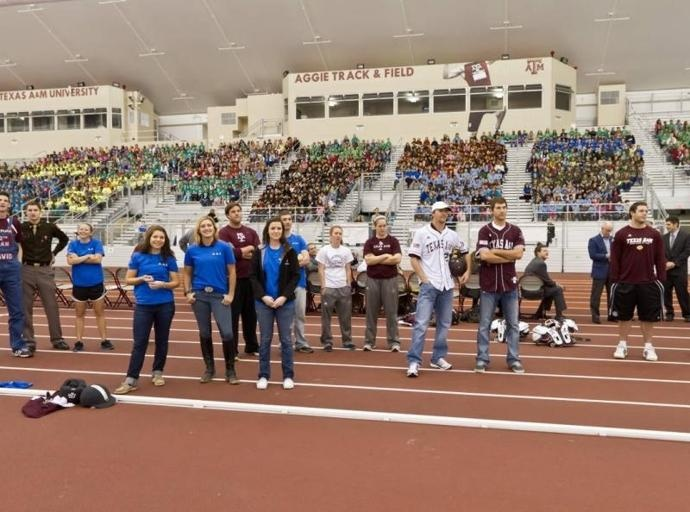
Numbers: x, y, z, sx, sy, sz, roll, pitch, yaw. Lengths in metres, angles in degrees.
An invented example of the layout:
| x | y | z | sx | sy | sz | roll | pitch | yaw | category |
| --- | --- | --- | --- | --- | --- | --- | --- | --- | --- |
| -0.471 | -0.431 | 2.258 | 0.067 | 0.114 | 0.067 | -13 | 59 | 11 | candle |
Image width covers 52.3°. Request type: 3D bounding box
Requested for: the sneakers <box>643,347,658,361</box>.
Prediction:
| x | y | z | sx | sy | sz | roll | pitch | yaw | category |
| --- | --- | --- | --- | --- | --- | --- | --- | --- | --- |
| 4.815 | 1.513 | 10.989 | 0.211 | 0.197 | 0.433 | 5 | 13 | 23 | sneakers |

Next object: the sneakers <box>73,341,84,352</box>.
| x | y | z | sx | sy | sz | roll | pitch | yaw | category |
| --- | --- | --- | --- | --- | --- | --- | --- | --- | --- |
| -4.516 | 1.517 | 11.790 | 0.158 | 0.167 | 0.387 | -5 | 13 | -21 | sneakers |

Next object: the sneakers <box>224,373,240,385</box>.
| x | y | z | sx | sy | sz | roll | pitch | yaw | category |
| --- | --- | --- | --- | --- | --- | --- | --- | --- | --- |
| -1.606 | 1.704 | 9.867 | 0.190 | 0.162 | 0.328 | -3 | 12 | -12 | sneakers |

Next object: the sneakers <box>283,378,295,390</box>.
| x | y | z | sx | sy | sz | roll | pitch | yaw | category |
| --- | --- | --- | --- | --- | --- | --- | --- | --- | --- |
| -0.795 | 1.745 | 9.700 | 0.168 | 0.151 | 0.326 | -1 | 12 | -3 | sneakers |

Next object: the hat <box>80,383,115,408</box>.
| x | y | z | sx | sy | sz | roll | pitch | yaw | category |
| --- | --- | --- | --- | --- | --- | --- | --- | --- | --- |
| -3.229 | 1.813 | 9.025 | 0.338 | 0.195 | 0.273 | 3 | 8 | 22 | hat |

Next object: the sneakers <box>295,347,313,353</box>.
| x | y | z | sx | sy | sz | roll | pitch | yaw | category |
| --- | --- | --- | --- | --- | --- | --- | --- | --- | --- |
| -0.683 | 1.558 | 11.568 | 0.265 | 0.126 | 0.104 | -2 | -5 | 12 | sneakers |

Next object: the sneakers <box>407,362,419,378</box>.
| x | y | z | sx | sy | sz | roll | pitch | yaw | category |
| --- | --- | --- | --- | --- | --- | --- | --- | --- | --- |
| 0.993 | 1.627 | 10.196 | 0.181 | 0.204 | 0.376 | 1 | 12 | 7 | sneakers |

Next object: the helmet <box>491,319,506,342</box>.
| x | y | z | sx | sy | sz | roll | pitch | yaw | category |
| --- | --- | --- | --- | --- | --- | --- | --- | --- | --- |
| 2.746 | 1.323 | 12.507 | 0.202 | 0.277 | 0.612 | 1 | 12 | 8 | helmet |

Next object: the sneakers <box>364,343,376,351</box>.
| x | y | z | sx | sy | sz | roll | pitch | yaw | category |
| --- | --- | --- | --- | --- | --- | --- | --- | --- | --- |
| 0.389 | 1.524 | 11.738 | 0.182 | 0.095 | 0.195 | 0 | 12 | 2 | sneakers |

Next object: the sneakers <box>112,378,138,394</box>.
| x | y | z | sx | sy | sz | roll | pitch | yaw | category |
| --- | --- | --- | --- | --- | --- | --- | --- | --- | --- |
| -2.994 | 1.755 | 9.398 | 0.155 | 0.134 | 0.314 | -4 | -8 | 17 | sneakers |

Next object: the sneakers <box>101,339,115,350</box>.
| x | y | z | sx | sy | sz | roll | pitch | yaw | category |
| --- | --- | --- | --- | --- | --- | --- | --- | --- | --- |
| -4.079 | 1.522 | 11.950 | 0.291 | 0.135 | 0.109 | -2 | -1 | 40 | sneakers |

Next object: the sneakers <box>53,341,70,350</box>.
| x | y | z | sx | sy | sz | roll | pitch | yaw | category |
| --- | --- | --- | --- | --- | --- | --- | --- | --- | --- |
| -4.824 | 1.507 | 11.807 | 0.314 | 0.148 | 0.133 | -1 | 7 | 20 | sneakers |

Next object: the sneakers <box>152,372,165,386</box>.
| x | y | z | sx | sy | sz | roll | pitch | yaw | category |
| --- | --- | --- | --- | --- | --- | --- | --- | --- | --- |
| -2.656 | 1.735 | 9.863 | 0.134 | 0.077 | 0.198 | -1 | 1 | -31 | sneakers |

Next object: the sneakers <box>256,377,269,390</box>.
| x | y | z | sx | sy | sz | roll | pitch | yaw | category |
| --- | --- | --- | --- | --- | --- | --- | --- | --- | --- |
| -1.143 | 1.742 | 9.569 | 0.148 | 0.144 | 0.149 | -2 | 12 | -10 | sneakers |

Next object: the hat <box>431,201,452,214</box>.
| x | y | z | sx | sy | sz | roll | pitch | yaw | category |
| --- | --- | --- | --- | --- | --- | --- | --- | --- | --- |
| 1.417 | -0.717 | 10.437 | 0.245 | 0.198 | 0.341 | 0 | -4 | -12 | hat |

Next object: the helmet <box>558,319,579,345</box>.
| x | y | z | sx | sy | sz | roll | pitch | yaw | category |
| --- | --- | --- | --- | --- | --- | --- | --- | --- | --- |
| 3.794 | 1.302 | 12.107 | 0.332 | 0.462 | 0.185 | 10 | -15 | -30 | helmet |

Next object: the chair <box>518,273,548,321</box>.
| x | y | z | sx | sy | sz | roll | pitch | yaw | category |
| --- | --- | --- | --- | --- | --- | --- | --- | --- | --- |
| 3.789 | 0.836 | 14.091 | 0.593 | 1.146 | 0.754 | 0 | 11 | 17 | chair |

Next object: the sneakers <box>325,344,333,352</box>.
| x | y | z | sx | sy | sz | roll | pitch | yaw | category |
| --- | --- | --- | --- | --- | --- | --- | --- | --- | --- |
| -0.286 | 1.526 | 11.732 | 0.146 | 0.131 | 0.235 | 0 | 12 | 0 | sneakers |

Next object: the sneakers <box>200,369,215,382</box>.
| x | y | z | sx | sy | sz | roll | pitch | yaw | category |
| --- | --- | --- | --- | --- | --- | --- | --- | --- | --- |
| -1.957 | 1.684 | 9.988 | 0.153 | 0.166 | 0.312 | 2 | 12 | 11 | sneakers |

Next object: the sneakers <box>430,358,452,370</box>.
| x | y | z | sx | sy | sz | roll | pitch | yaw | category |
| --- | --- | --- | --- | --- | --- | --- | --- | --- | --- |
| 1.445 | 1.634 | 10.535 | 0.299 | 0.152 | 0.146 | 0 | 3 | 12 | sneakers |

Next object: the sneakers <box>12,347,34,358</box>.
| x | y | z | sx | sy | sz | roll | pitch | yaw | category |
| --- | --- | --- | --- | --- | --- | --- | --- | --- | --- |
| -5.192 | 1.556 | 11.222 | 0.335 | 0.169 | 0.142 | -5 | -7 | 27 | sneakers |

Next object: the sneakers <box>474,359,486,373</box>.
| x | y | z | sx | sy | sz | roll | pitch | yaw | category |
| --- | --- | --- | --- | --- | --- | --- | --- | --- | --- |
| 1.994 | 1.637 | 10.332 | 0.120 | 0.144 | 0.322 | -3 | -10 | 16 | sneakers |

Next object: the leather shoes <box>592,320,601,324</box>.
| x | y | z | sx | sy | sz | roll | pitch | yaw | category |
| --- | --- | --- | --- | --- | --- | --- | --- | --- | --- |
| 5.066 | 1.311 | 14.069 | 0.152 | 0.105 | 0.214 | 4 | 13 | 18 | leather shoes |

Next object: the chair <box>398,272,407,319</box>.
| x | y | z | sx | sy | sz | roll | pitch | yaw | category |
| --- | --- | --- | --- | --- | --- | --- | --- | --- | --- |
| 1.195 | 0.821 | 14.252 | 0.237 | 0.960 | 0.486 | 0 | 11 | 4 | chair |
